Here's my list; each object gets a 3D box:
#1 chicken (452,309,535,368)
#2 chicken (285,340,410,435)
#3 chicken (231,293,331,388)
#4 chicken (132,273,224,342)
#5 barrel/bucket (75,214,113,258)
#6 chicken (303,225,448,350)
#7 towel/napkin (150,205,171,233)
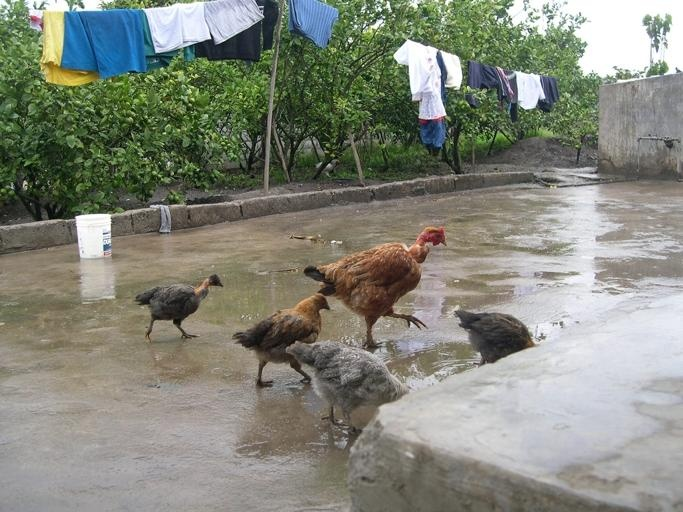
[{"bbox_3d":[1.212,0.693,4.611,0.360,0.430,0.592,-9,16,-27],"label":"chicken"},{"bbox_3d":[0.028,0.916,4.112,0.813,0.610,0.287,2,15,12],"label":"chicken"},{"bbox_3d":[-0.380,0.626,4.908,0.724,0.663,0.832,1,7,25],"label":"chicken"},{"bbox_3d":[-1.632,0.497,5.851,0.899,0.690,0.462,6,11,-5],"label":"chicken"},{"bbox_3d":[-3.788,-0.324,9.151,0.628,0.663,0.618,1,10,0],"label":"barrel/bucket"},{"bbox_3d":[0.462,0.223,5.707,1.474,1.186,0.690,-7,12,-11],"label":"chicken"},{"bbox_3d":[-3.419,-0.697,11.275,0.324,0.473,0.564,-8,16,-25],"label":"towel/napkin"}]
